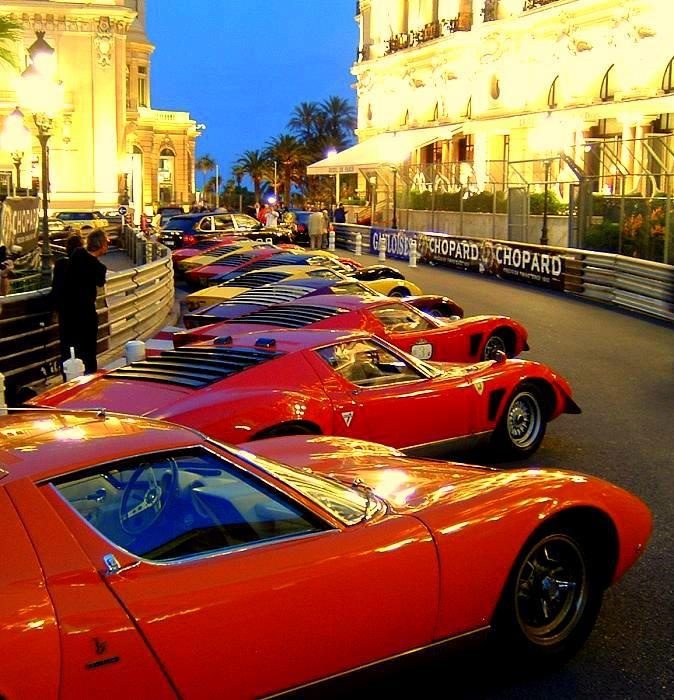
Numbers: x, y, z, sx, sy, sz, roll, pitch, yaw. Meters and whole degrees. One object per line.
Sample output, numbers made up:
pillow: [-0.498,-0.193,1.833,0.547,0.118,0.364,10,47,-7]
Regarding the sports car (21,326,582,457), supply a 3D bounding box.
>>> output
sports car: [0.282,0.368,5.886,4.457,1.066,2.173,-2,5,-27]
